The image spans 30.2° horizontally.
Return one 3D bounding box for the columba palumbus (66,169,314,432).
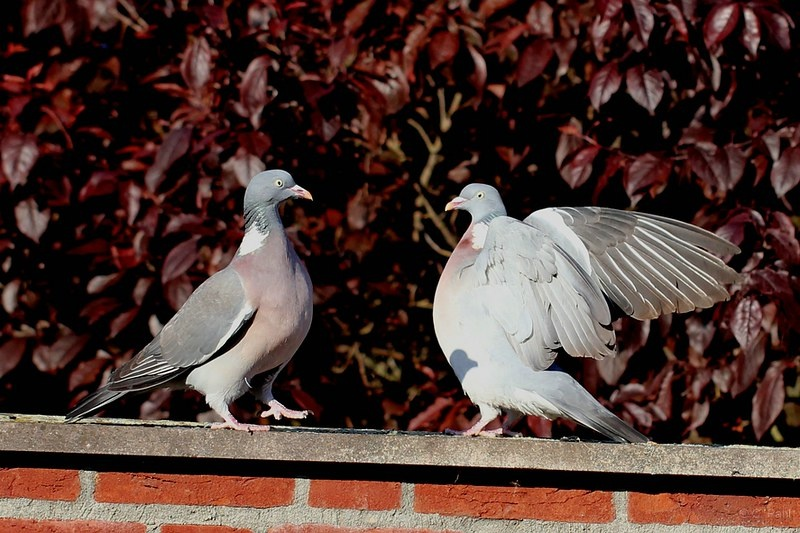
[{"bbox_3d":[-0.682,0.122,4.787,0.937,0.789,0.465,-5,1,21],"label":"columba palumbus"}]
